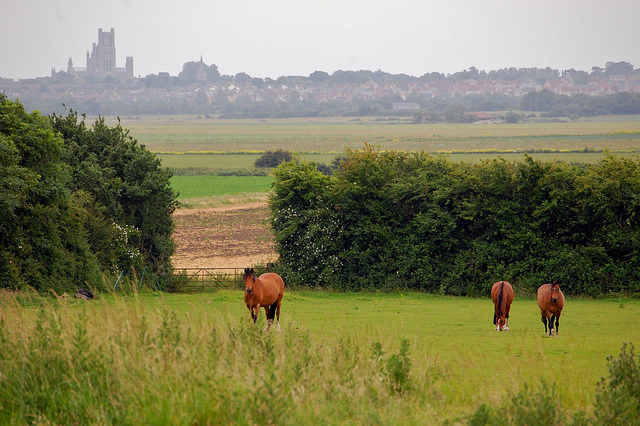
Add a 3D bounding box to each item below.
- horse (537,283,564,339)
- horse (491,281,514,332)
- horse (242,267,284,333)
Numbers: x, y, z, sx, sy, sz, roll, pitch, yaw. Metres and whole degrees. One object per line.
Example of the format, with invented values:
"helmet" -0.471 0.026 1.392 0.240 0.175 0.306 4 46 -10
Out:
"horse" 15.596 6.459 83.035 1.573 3.589 1.666 0 -4 -3
"horse" 12.727 6.097 85.895 1.547 3.170 5.956 1 11 13
"horse" -3.783 5.504 82.434 2.568 4.080 4.193 -2 6 -3
